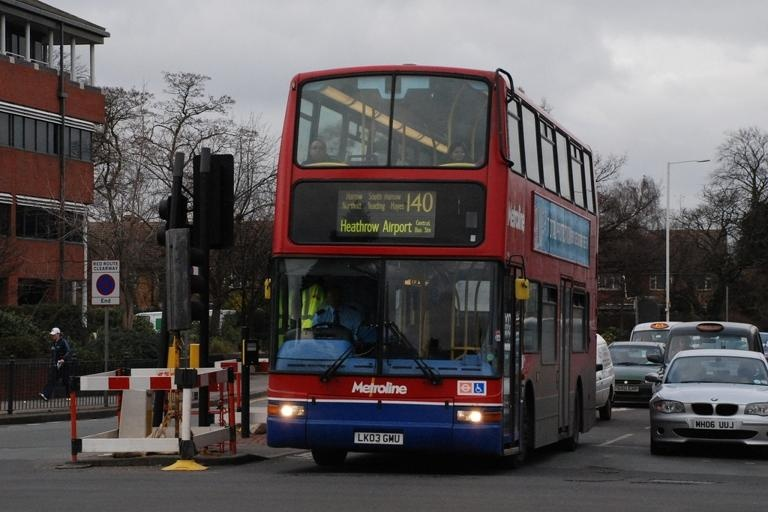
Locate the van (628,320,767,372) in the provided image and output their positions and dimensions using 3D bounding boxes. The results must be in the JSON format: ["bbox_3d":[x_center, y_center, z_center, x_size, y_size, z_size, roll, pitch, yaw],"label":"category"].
[{"bbox_3d":[8.405,2.458,25.257,2.538,1.326,1.720,1,-4,4],"label":"van"}]

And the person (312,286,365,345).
[{"bbox_3d":[-0.677,0.958,14.963,0.817,1.217,0.688,-2,-9,6],"label":"person"}]

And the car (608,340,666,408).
[{"bbox_3d":[8.617,3.929,32.304,1.861,2.044,3.996,-2,0,19],"label":"car"}]

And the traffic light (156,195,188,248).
[{"bbox_3d":[-3.651,-0.658,15.973,0.494,0.979,0.973,1,-11,-14],"label":"traffic light"}]

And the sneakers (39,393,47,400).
[{"bbox_3d":[-10.219,4.214,27.765,0.092,0.296,0.199,-20,8,-1],"label":"sneakers"}]

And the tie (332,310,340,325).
[{"bbox_3d":[-0.749,0.954,14.631,0.118,0.228,0.024,0,-10,-8],"label":"tie"}]
